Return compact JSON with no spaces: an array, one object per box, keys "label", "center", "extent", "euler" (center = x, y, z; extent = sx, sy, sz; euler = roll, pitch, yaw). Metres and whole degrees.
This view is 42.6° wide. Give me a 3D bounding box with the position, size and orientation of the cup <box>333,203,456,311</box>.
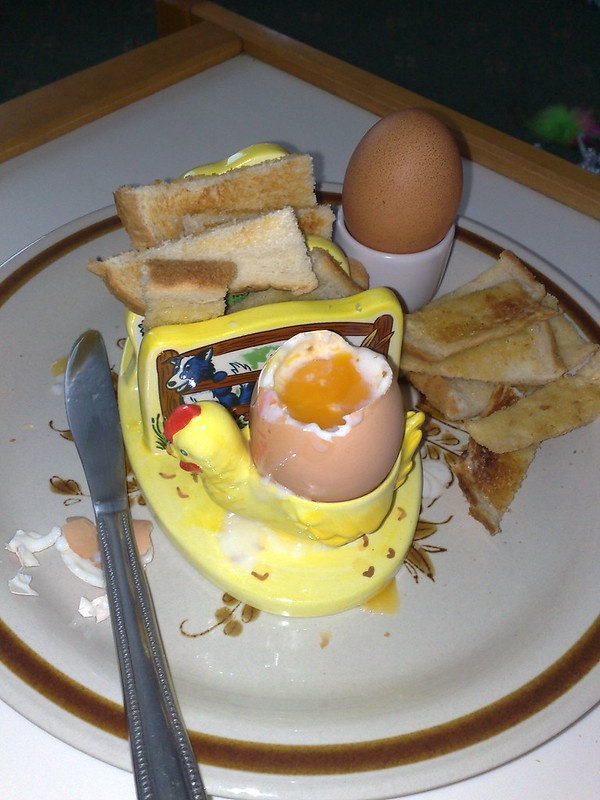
[{"label":"cup","center":[0.117,-0.159,0.978],"extent":[0.152,0.098,0.129],"euler":[-6,50,-4]}]
